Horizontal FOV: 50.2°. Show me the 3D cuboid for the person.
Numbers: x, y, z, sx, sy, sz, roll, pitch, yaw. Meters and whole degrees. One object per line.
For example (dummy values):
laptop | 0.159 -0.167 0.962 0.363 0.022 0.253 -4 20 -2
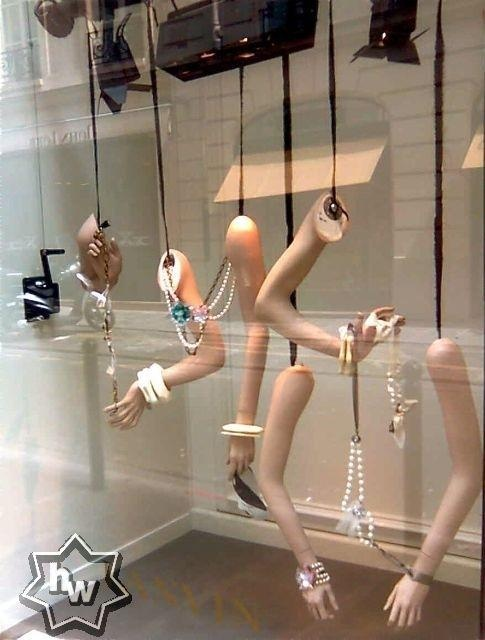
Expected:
person | 0.018 0.180 1.223 1.001 0.918 0.225 8 11 34
